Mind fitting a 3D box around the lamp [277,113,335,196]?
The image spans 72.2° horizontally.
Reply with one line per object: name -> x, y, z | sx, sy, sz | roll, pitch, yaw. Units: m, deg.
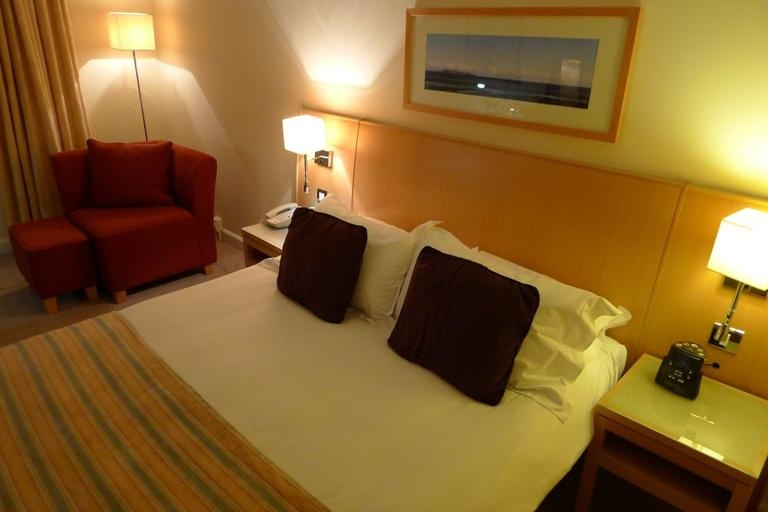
lamp -> -0.598, -0.827, 4.177 | 0.292, 0.939, 0.423 | -18, 30, -38

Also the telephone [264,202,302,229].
telephone -> -0.829, -0.329, 4.257 | 0.283, 0.133, 0.204 | -23, 34, -29

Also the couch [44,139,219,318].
couch -> -2.117, -0.528, 4.808 | 1.494, 1.630, 1.259 | -13, 25, -36

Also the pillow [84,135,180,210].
pillow -> -2.112, -0.674, 4.425 | 0.570, 0.528, 0.209 | -6, 6, -17

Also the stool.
stool -> -2.577, 0.028, 4.327 | 0.680, 0.738, 0.699 | -14, 30, -33
